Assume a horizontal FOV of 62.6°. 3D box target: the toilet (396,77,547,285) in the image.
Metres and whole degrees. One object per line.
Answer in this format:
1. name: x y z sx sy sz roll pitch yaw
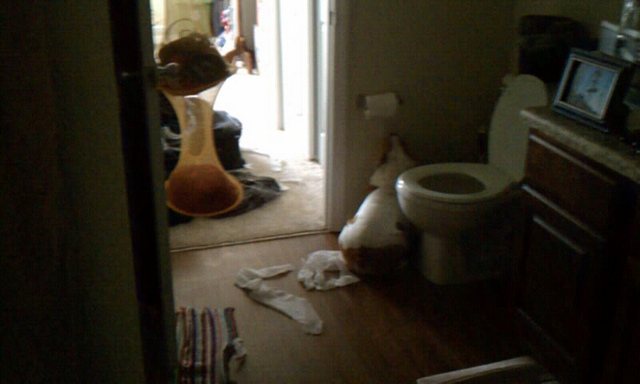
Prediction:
1. toilet: 0.749 -0.144 2.916 0.880 1.297 0.703 -1 20 -1

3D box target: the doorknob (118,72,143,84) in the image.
1. doorknob: -0.408 -0.244 1.127 0.021 0.022 0.039 -1 10 23

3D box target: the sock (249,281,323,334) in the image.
1. sock: -0.138 0.535 2.446 0.329 0.019 0.148 25 39 26
